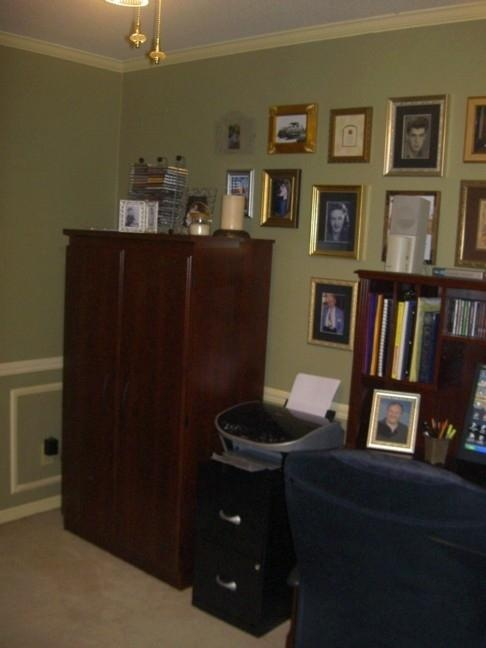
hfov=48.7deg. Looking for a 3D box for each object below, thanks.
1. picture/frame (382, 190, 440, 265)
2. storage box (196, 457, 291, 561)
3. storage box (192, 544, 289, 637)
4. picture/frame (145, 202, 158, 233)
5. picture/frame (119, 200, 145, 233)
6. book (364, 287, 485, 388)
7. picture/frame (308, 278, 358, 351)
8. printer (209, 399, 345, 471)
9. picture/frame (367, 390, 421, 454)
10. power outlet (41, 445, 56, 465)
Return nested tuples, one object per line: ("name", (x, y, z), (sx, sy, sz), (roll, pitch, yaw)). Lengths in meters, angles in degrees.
("picture/frame", (0.684, -0.387, 2.158), (0.044, 0.394, 0.284), (-6, 14, -37))
("storage box", (-0.025, 0.786, 2.272), (0.390, 0.413, 0.107), (5, 3, 33))
("storage box", (0.022, 1.102, 2.421), (0.359, 0.344, 0.355), (1, -2, 36))
("picture/frame", (-0.481, -0.561, 2.832), (0.055, 0.167, 0.129), (2, 3, -11))
("picture/frame", (-0.587, -0.549, 2.735), (0.151, 0.178, 0.135), (4, 3, 14))
("book", (0.704, 0.052, 2.062), (0.352, 0.344, 0.114), (8, 9, 37))
("picture/frame", (0.436, -0.049, 2.565), (0.302, 0.397, 0.019), (10, 9, 35))
("printer", (0.145, 0.538, 2.392), (0.365, 0.262, 0.498), (-14, 13, -43))
("picture/frame", (0.588, 0.388, 2.106), (0.218, 0.293, 0.031), (7, -14, 16))
("power outlet", (-1.201, 0.819, 3.334), (0.021, 0.132, 0.110), (5, 3, 36))
